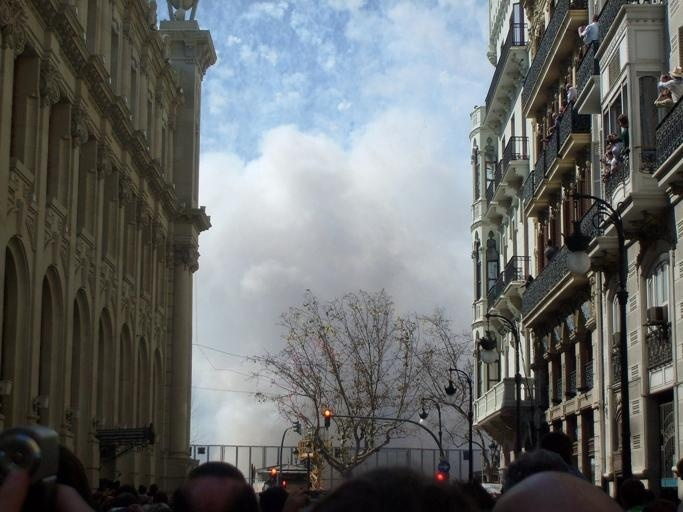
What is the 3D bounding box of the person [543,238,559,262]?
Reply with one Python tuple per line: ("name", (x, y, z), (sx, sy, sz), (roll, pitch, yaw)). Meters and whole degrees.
("person", (8.227, -0.231, 56.312), (0.676, 0.543, 1.718), (0, -43, 9))
